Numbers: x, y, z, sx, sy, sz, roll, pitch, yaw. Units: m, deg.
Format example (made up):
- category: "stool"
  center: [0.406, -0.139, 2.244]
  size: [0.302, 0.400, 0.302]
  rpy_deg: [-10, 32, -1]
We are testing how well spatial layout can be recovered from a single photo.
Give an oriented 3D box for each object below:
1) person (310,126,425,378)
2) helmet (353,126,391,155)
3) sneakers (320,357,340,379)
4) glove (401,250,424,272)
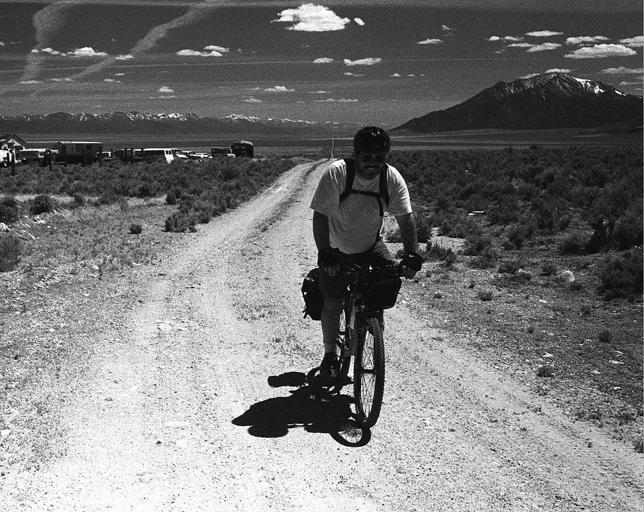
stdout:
- category: "person"
  center: [0.435, -0.453, 6.400]
  size: [1.116, 1.829, 0.629]
  rpy_deg: [-2, 12, -19]
- category: "helmet"
  center: [0.492, -1.185, 6.121]
  size: [0.389, 0.280, 0.398]
  rpy_deg: [5, 13, 12]
- category: "sneakers"
  center: [0.098, 1.282, 6.894]
  size: [0.185, 0.300, 0.154]
  rpy_deg: [-3, 15, -14]
- category: "glove"
  center: [0.956, 0.066, 6.418]
  size: [0.212, 0.235, 0.235]
  rpy_deg: [3, 12, 5]
